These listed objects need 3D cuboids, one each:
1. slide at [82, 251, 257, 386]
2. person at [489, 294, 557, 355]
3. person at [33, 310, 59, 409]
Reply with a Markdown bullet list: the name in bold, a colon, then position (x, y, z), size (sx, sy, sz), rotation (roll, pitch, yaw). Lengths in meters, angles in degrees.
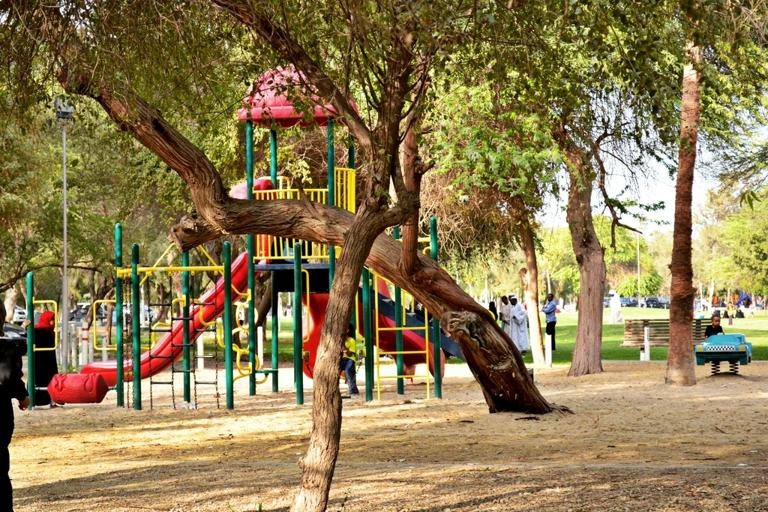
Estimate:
- **slide**: position (-4.558, 1.779, 25.794), size (4.024, 3.754, 3.441), rotation (-3, -5, 29)
- **person**: position (4.090, 2.034, 32.354), size (0.870, 1.812, 1.498), rotation (-8, -10, 31)
- **person**: position (-7.822, 2.342, 23.913), size (0.474, 2.254, 0.845), rotation (0, -8, -18)
